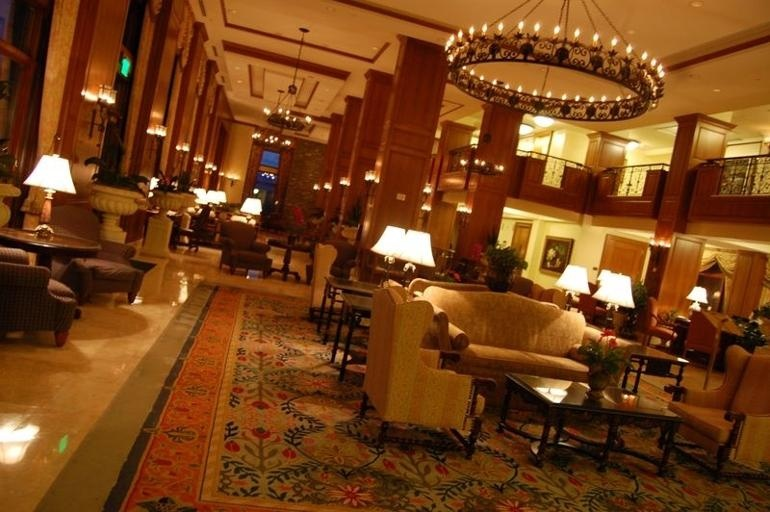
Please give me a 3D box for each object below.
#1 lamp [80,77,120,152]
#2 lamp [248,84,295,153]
[{"bbox_3d":[-4.147,-2.075,8.023,0.357,0.976,0.912,8,3,-19],"label":"lamp"},{"bbox_3d":[-3.988,-4.817,18.914,1.769,2.159,1.827,16,11,-2],"label":"lamp"}]
